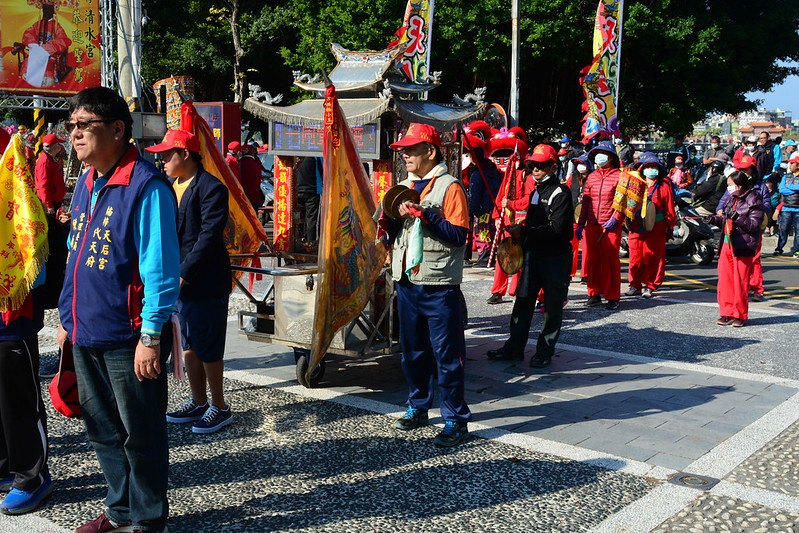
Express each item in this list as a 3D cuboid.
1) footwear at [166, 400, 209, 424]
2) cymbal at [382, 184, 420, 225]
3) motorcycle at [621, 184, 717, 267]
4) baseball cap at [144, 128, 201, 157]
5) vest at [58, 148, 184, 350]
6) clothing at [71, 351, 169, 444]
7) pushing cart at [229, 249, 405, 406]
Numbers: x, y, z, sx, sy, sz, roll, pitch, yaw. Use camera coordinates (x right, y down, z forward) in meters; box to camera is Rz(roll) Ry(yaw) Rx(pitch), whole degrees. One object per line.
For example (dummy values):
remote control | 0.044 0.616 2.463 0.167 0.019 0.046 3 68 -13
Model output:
footwear | -1.992 1.363 7.274 0.504 0.203 0.181 1 0 -20
cymbal | 0.027 -0.565 6.757 0.349 0.306 0.281 0 13 -7
motorcycle | 5.879 -0.944 16.818 0.764 1.574 2.341 -3 9 -38
baseball cap | -2.045 -1.127 6.917 0.393 0.186 0.242 2 9 -20
vest | -2.077 -0.141 5.567 1.356 1.409 0.571 5 3 42
clothing | -1.978 0.897 5.375 0.683 0.729 0.230 5 13 13
pushing cart | -0.776 0.556 8.220 1.309 0.929 1.786 9 13 38
